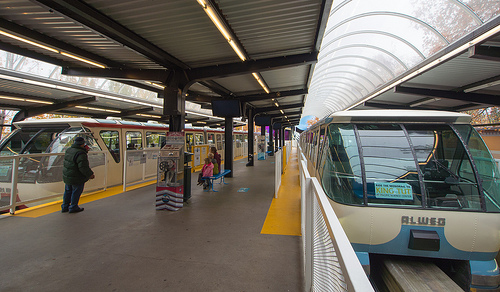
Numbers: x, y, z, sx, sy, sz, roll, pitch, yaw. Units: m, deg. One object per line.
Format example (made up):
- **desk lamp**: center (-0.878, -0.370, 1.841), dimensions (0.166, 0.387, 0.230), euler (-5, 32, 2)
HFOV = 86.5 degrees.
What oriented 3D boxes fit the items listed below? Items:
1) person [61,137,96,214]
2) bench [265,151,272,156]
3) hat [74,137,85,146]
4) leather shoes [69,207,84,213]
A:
- **person**: center (-7.260, 1.217, 11.119), dimensions (1.247, 3.106, 0.599), euler (2, 8, 6)
- **bench**: center (2.424, 1.009, 33.929), dimensions (0.619, 0.371, 0.902), euler (-1, 3, -32)
- **hat**: center (-7.155, -0.174, 11.180), dimensions (0.366, 0.233, 0.350), euler (-6, 12, -35)
- **leather shoes**: center (-7.245, 2.706, 11.157), dimensions (0.578, 0.195, 0.185), euler (0, 4, -29)
